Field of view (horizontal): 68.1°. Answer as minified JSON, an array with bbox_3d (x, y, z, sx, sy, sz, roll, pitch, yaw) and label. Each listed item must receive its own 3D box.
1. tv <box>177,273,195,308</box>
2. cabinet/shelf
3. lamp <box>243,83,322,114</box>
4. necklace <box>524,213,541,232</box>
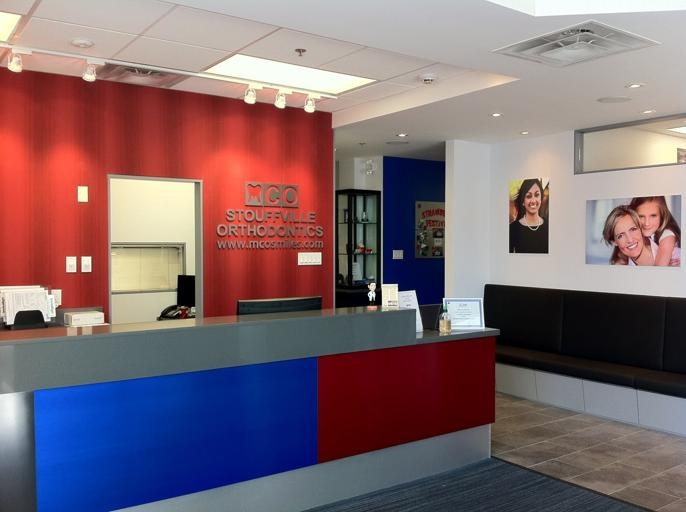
[{"bbox_3d":[-2.160,0.481,6.973,0.069,0.484,0.429,0,0,-41],"label":"tv"},{"bbox_3d":[0.259,-0.117,9.117,0.908,2.127,0.426,2,3,9],"label":"cabinet/shelf"},{"bbox_3d":[-0.642,-1.715,5.656,0.799,0.311,1.248,1,3,-4],"label":"lamp"},{"bbox_3d":[2.735,-0.505,7.314,0.202,0.131,0.252,-13,-1,8],"label":"necklace"}]
